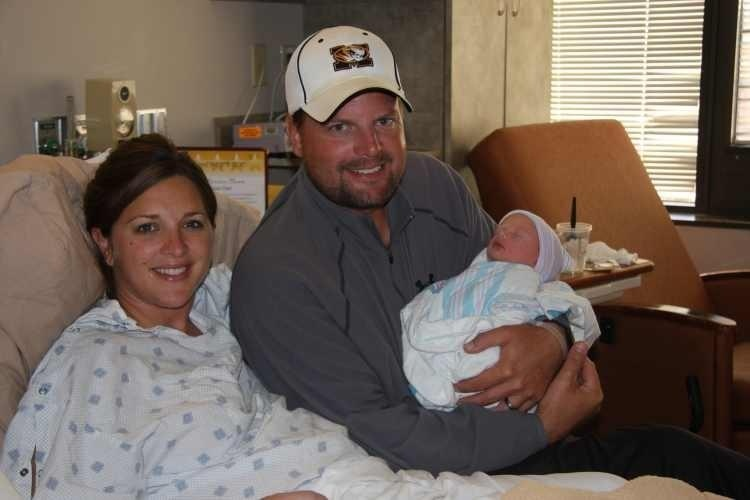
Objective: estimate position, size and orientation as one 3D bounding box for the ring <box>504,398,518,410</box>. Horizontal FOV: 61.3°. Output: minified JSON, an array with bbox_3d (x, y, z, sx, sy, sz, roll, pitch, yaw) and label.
[{"bbox_3d":[0.443,0.491,2.045,0.036,0.010,0.036,33,24,-17],"label":"ring"}]

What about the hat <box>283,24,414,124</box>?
[{"bbox_3d":[-0.101,-0.615,2.142,0.293,0.221,0.410,-16,21,-25],"label":"hat"}]

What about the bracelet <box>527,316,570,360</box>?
[{"bbox_3d":[0.608,0.291,2.214,0.121,0.100,0.127,20,19,-18],"label":"bracelet"}]
